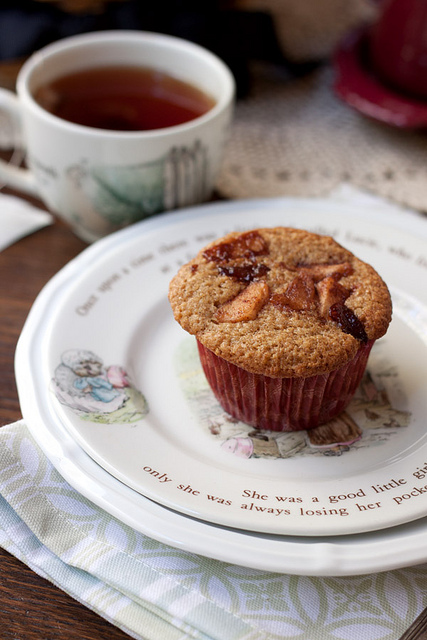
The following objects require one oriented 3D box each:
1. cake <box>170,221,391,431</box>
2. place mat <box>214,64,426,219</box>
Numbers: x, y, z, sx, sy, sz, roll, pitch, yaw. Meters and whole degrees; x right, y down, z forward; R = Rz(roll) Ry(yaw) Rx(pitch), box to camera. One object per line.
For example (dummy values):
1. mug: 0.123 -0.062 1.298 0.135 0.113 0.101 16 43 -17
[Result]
1. cake: 0.126 0.010 1.093 0.369 0.218 0.362 -6 39 -6
2. place mat: 0.289 -0.465 1.567 0.498 0.080 0.460 9 58 10
